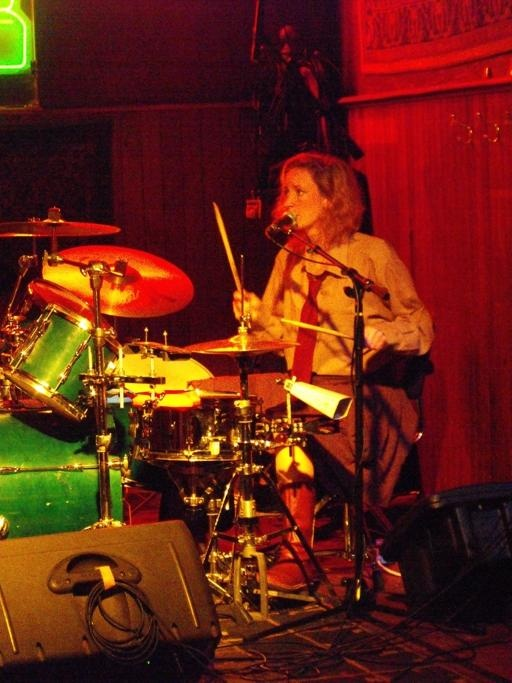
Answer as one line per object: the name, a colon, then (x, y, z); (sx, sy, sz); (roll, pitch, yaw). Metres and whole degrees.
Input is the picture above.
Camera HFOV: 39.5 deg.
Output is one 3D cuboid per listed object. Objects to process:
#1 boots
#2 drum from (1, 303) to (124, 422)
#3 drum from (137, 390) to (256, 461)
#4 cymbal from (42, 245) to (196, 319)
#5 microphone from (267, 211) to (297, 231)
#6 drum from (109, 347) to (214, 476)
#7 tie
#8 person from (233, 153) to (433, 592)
boots: (0.104, 0.654, 2.441); (0.259, 0.375, 0.114); (9, -19, -41)
drum: (-0.734, 0.085, 2.829); (0.432, 0.374, 0.433); (21, -15, 25)
drum: (-0.229, 0.288, 2.370); (0.270, 0.126, 0.264); (1, -3, 0)
cymbal: (-0.563, -0.262, 2.981); (0.409, 0.091, 0.416); (33, 27, 30)
microphone: (0.083, -0.372, 2.259); (0.093, 0.065, 0.085); (-1, -2, -3)
drum: (-0.363, 0.212, 2.539); (0.370, 0.385, 0.447); (12, 4, 44)
tie: (0.204, -0.020, 2.697); (0.102, 0.425, 0.060); (8, -12, 18)
person: (0.256, 0.120, 2.775); (0.819, 1.579, 0.774); (0, 2, -35)
